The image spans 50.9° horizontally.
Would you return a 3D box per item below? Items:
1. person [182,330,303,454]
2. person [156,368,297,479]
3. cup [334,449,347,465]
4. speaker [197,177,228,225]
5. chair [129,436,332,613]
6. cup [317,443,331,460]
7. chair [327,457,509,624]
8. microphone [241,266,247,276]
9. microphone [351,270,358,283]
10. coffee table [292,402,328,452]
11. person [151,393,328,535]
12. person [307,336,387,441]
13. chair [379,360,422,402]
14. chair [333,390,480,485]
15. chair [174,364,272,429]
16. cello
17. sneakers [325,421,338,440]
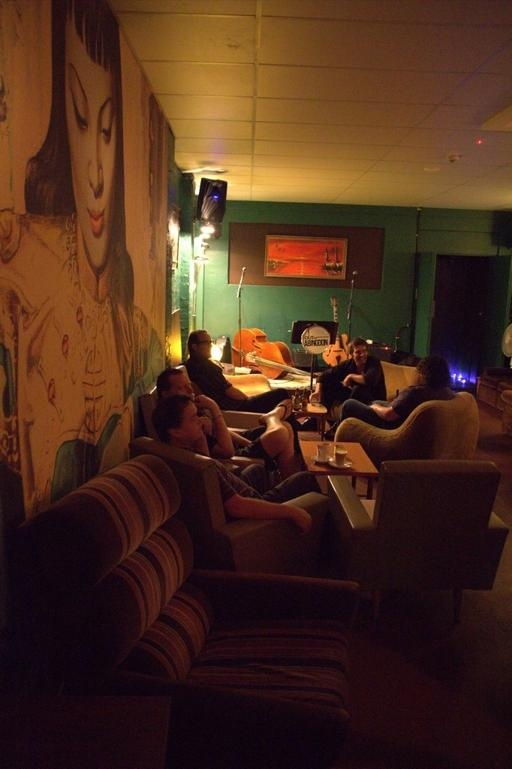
[{"bbox_3d":[-0.127,0.159,4.739,0.707,1.383,0.442,-22,9,-21],"label":"person"},{"bbox_3d":[-0.155,0.198,3.660,0.813,1.011,0.684,-1,17,-5],"label":"person"},{"bbox_3d":[0.499,0.424,3.189,0.071,0.090,0.080,7,11,6],"label":"cup"},{"bbox_3d":[-0.516,-2.050,6.052,0.317,0.515,0.263,2,10,-9],"label":"speaker"},{"bbox_3d":[-0.110,0.475,2.512,0.690,0.881,0.572,-3,7,-26],"label":"chair"},{"bbox_3d":[0.410,0.413,3.271,0.068,0.121,0.114,0,-2,4],"label":"cup"},{"bbox_3d":[0.694,0.658,2.502,0.597,0.785,0.666,1,6,1],"label":"chair"},{"bbox_3d":[-0.198,-1.755,8.360,0.074,0.140,0.031,-1,10,-24],"label":"microphone"},{"bbox_3d":[1.538,-1.662,8.375,0.042,0.208,0.075,6,3,23],"label":"microphone"},{"bbox_3d":[0.526,0.381,5.278,0.321,0.472,0.470,-1,16,1],"label":"coffee table"},{"bbox_3d":[-0.101,0.325,2.556,0.668,0.810,0.519,-8,6,-15],"label":"person"},{"bbox_3d":[0.972,0.071,5.360,0.790,1.100,0.519,20,-14,-30],"label":"person"},{"bbox_3d":[1.588,-0.063,6.218,0.409,0.556,0.393,5,3,-25],"label":"chair"},{"bbox_3d":[1.130,0.294,3.973,0.876,0.799,0.957,-2,19,19],"label":"chair"},{"bbox_3d":[-0.267,0.154,3.998,0.625,0.614,0.488,1,22,-7],"label":"chair"},{"bbox_3d":[0.157,-0.399,7.581,0.373,0.610,1.198,3,20,-35],"label":"cello"},{"bbox_3d":[0.737,0.464,5.251,0.073,0.169,0.250,11,44,11],"label":"sneakers"}]
